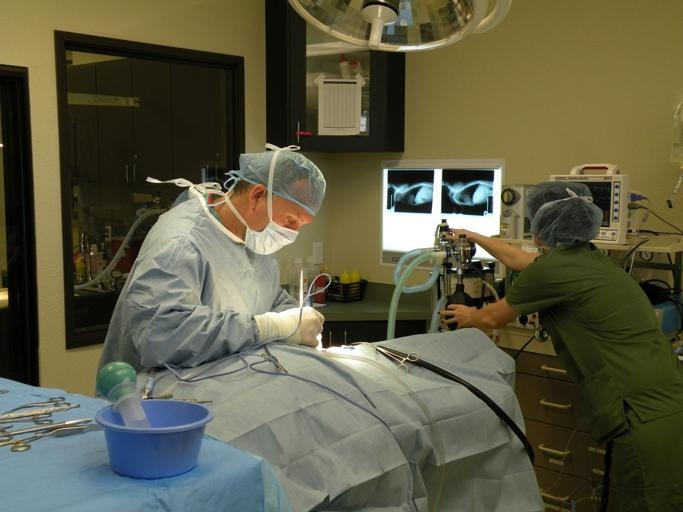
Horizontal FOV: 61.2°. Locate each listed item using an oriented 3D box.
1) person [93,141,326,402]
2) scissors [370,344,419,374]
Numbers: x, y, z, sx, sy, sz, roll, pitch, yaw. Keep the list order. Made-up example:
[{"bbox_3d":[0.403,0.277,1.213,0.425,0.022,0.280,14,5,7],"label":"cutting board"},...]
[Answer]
[{"bbox_3d":[-0.419,-0.004,2.058,0.735,0.778,0.532,-7,11,-39],"label":"person"},{"bbox_3d":[0.185,0.359,2.055,0.160,0.057,0.072,9,12,42],"label":"scissors"}]
